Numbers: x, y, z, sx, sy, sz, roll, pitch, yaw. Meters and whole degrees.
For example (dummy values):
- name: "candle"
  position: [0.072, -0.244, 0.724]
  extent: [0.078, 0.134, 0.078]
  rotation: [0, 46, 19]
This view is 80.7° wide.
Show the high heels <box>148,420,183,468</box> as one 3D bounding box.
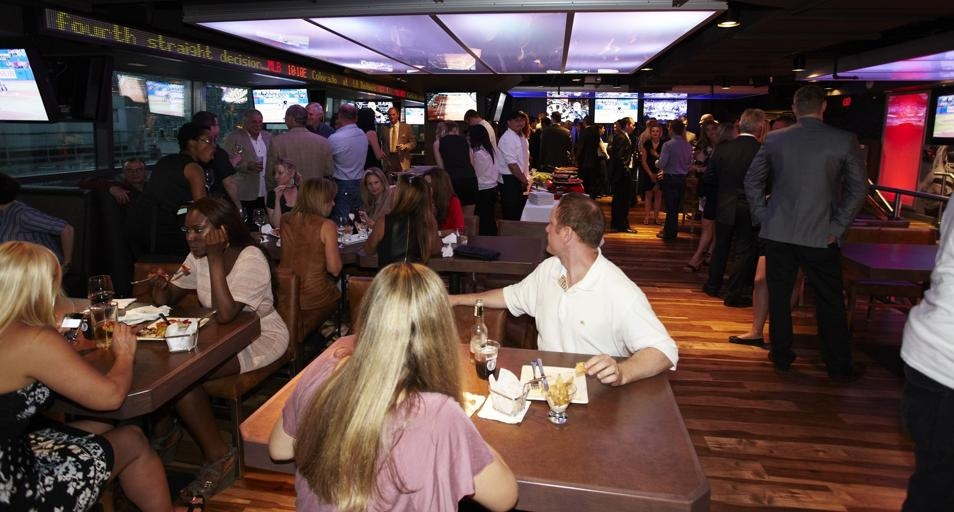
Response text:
- name: "high heels"
  position: [-2.761, 1.650, 4.948]
  extent: [0.183, 0.159, 0.416]
  rotation: [2, 26, -11]

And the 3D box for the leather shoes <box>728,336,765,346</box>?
- name: "leather shoes"
  position: [3.094, 0.978, 6.448]
  extent: [0.380, 0.087, 0.136]
  rotation: [6, 5, 17]

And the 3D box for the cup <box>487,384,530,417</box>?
- name: "cup"
  position: [0.209, 0.923, 3.648]
  extent: [0.256, 0.141, 0.188]
  rotation: [2, 6, 25]

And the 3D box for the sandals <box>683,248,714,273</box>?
- name: "sandals"
  position: [3.458, 0.099, 8.771]
  extent: [0.224, 0.168, 0.720]
  rotation: [-4, 5, 35]

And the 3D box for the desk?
- name: "desk"
  position: [4.237, 0.204, 5.906]
  extent: [1.019, 0.494, 1.379]
  rotation: [-3, 23, 10]

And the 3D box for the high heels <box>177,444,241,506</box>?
- name: "high heels"
  position: [-2.205, 1.850, 4.749]
  extent: [0.565, 0.226, 0.212]
  rotation: [-47, 24, -26]

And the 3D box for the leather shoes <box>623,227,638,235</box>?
- name: "leather shoes"
  position: [3.067, -0.498, 11.012]
  extent: [0.339, 0.123, 0.108]
  rotation: [3, 18, 16]

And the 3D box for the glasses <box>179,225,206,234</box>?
- name: "glasses"
  position: [-2.436, -0.236, 4.813]
  extent: [0.245, 0.058, 0.221]
  rotation: [0, -1, 14]
